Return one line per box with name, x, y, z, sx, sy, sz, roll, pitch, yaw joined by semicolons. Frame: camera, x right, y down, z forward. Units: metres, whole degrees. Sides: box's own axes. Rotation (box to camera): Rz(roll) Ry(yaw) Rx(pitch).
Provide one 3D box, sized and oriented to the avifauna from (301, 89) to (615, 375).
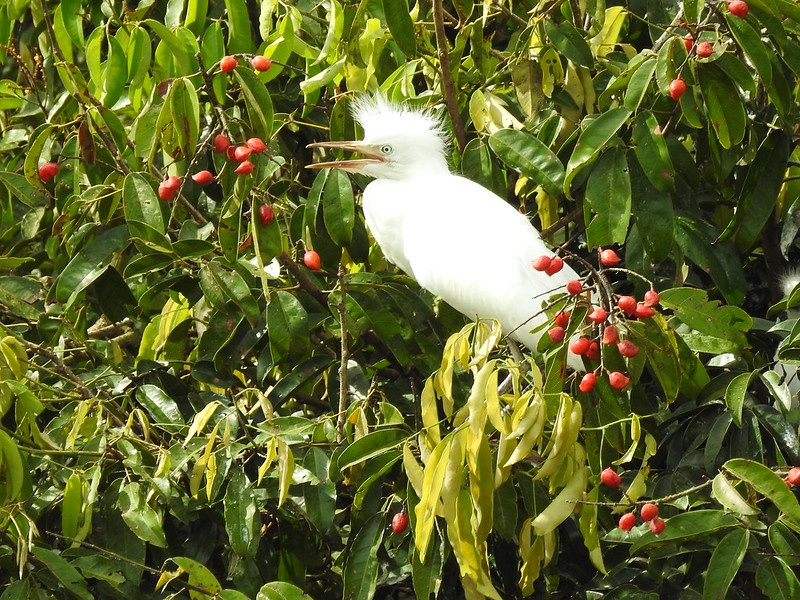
avifauna;0.032;-0.171;4.258;0.426;0.947;1.088;6;4;30
